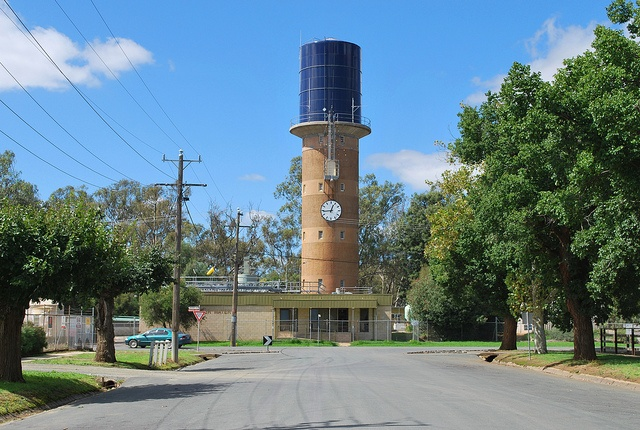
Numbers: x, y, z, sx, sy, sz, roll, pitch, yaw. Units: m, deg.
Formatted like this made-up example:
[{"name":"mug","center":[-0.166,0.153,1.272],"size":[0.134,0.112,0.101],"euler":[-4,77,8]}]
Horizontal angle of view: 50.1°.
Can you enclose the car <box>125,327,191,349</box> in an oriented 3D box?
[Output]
[{"name":"car","center":[-13.846,10.375,58.200],"size":[5.213,1.807,3.693],"euler":[0,-16,-7]}]

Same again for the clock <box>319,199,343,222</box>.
[{"name":"clock","center":[1.192,-0.428,74.188],"size":[2.190,2.542,0.323],"euler":[0,0,0]}]
